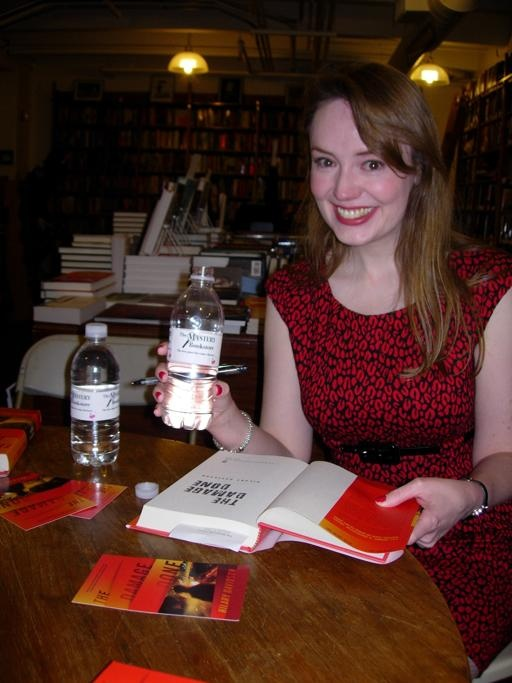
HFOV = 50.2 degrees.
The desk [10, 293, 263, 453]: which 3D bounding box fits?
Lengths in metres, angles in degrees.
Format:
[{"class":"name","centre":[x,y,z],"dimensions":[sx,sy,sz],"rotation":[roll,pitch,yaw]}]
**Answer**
[{"class":"desk","centre":[-0.288,0.081,1.388],"dimensions":[0.594,0.510,0.201],"rotation":[2,-6,4]}]

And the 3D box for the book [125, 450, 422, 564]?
[{"class":"book","centre":[0.008,0.232,0.756],"dimensions":[0.194,0.031,0.175],"rotation":[9,13,18]}]

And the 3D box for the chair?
[{"class":"chair","centre":[-0.479,0.195,1.632],"dimensions":[0.500,0.322,0.279],"rotation":[1,-3,-1]}]

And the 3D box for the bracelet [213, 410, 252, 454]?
[{"class":"bracelet","centre":[-0.040,0.181,1.092],"dimensions":[0.072,0.079,0.025],"rotation":[-4,-3,-16]}]
